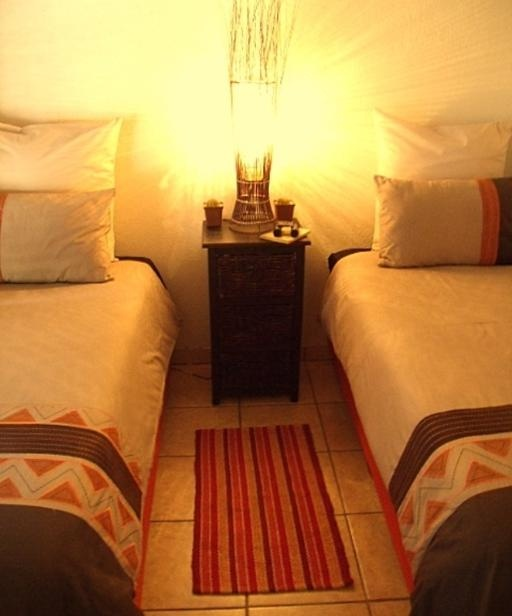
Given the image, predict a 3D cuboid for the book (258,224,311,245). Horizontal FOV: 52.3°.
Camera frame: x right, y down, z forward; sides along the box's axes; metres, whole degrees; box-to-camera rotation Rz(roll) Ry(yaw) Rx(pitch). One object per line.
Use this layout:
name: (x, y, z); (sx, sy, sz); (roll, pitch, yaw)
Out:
book: (0.101, -0.270, 1.939); (0.165, 0.046, 0.149); (7, 19, 18)

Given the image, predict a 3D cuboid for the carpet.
carpet: (0.018, 0.618, 1.746); (0.433, 0.021, 0.741); (-3, 23, -4)

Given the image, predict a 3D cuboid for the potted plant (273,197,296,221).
potted plant: (0.105, -0.397, 2.118); (0.092, 0.113, 0.084); (1, 24, 2)
